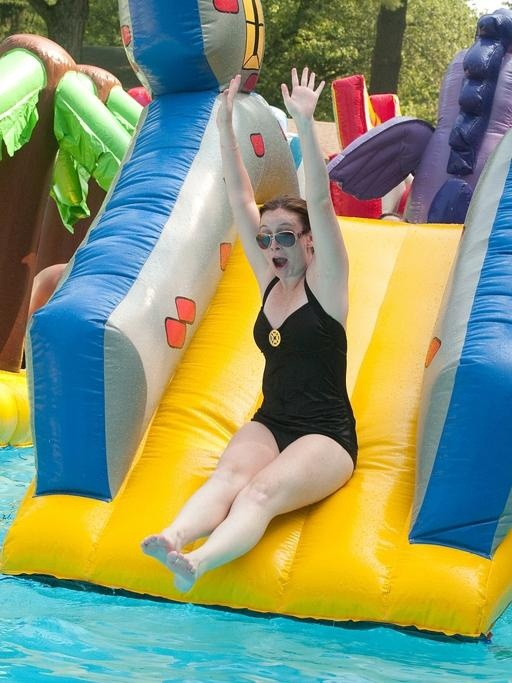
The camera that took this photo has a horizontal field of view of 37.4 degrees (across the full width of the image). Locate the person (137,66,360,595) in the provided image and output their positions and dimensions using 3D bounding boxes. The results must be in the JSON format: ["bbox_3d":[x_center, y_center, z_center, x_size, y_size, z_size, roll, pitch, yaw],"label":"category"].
[{"bbox_3d":[0.074,-0.017,1.953,0.437,1.158,1.074,7,31,9],"label":"person"}]
